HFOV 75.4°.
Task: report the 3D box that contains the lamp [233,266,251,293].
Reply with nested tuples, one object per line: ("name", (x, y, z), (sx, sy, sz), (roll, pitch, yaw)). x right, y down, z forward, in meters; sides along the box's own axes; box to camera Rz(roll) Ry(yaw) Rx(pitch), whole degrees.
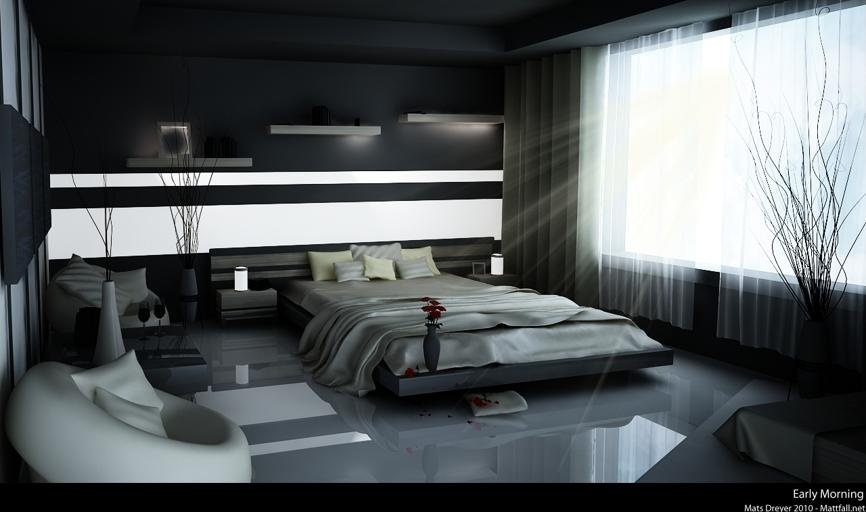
("lamp", (-2.436, 0.308, 7.168), (0.292, 0.416, 0.285), (0, 3, -18))

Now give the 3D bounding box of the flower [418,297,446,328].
("flower", (0.021, 0.511, 5.068), (0.269, 0.250, 0.260), (2, -4, -28))

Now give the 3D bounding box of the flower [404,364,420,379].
("flower", (-0.194, 1.016, 4.884), (0.122, 0.082, 0.199), (1, 0, -8))

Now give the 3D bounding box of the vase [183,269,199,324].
("vase", (-3.075, 0.526, 7.146), (0.164, 0.737, 0.231), (-2, 12, -16))

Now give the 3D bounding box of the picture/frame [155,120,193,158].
("picture/frame", (-3.236, -1.463, 7.110), (0.429, 0.462, 0.012), (-1, 3, -10))

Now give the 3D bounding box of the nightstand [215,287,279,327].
("nightstand", (-2.329, 0.629, 7.092), (0.834, 0.463, 0.431), (-1, 3, -24))

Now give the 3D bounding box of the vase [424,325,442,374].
("vase", (-0.006, 0.816, 4.971), (0.165, 0.421, 0.143), (-1, 12, -9))

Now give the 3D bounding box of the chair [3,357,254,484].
("chair", (-1.675, 1.001, 3.138), (1.062, 0.717, 0.816), (-8, 14, -38))
